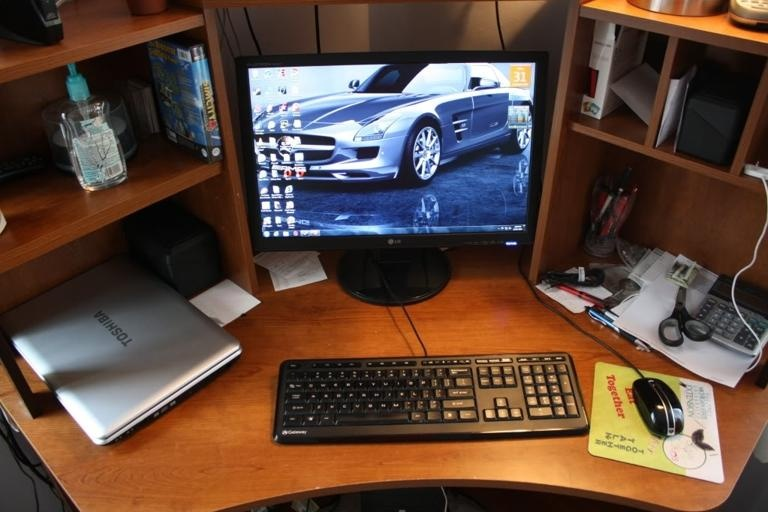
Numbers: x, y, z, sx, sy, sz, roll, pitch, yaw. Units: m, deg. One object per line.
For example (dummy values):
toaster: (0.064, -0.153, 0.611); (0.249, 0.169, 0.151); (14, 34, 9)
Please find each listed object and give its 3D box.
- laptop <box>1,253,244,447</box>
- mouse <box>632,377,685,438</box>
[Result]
laptop: (-0.632, 0.230, 1.459); (0.378, 0.104, 0.533); (-34, 52, -29)
mouse: (0.641, 0.340, 1.321); (0.101, 0.050, 0.160); (1, 30, 10)
